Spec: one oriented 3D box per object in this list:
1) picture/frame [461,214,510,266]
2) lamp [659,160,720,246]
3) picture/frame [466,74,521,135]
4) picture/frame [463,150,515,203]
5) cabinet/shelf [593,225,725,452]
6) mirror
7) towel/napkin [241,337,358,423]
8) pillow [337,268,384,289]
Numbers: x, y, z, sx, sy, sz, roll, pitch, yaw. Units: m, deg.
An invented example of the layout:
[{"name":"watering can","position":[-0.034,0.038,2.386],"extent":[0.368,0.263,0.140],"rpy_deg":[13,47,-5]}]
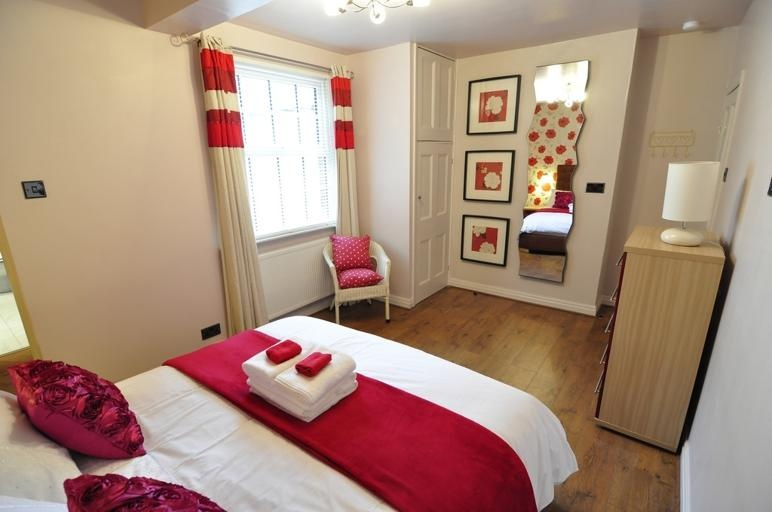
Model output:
[{"name":"picture/frame","position":[1.192,-0.196,5.476],"extent":[0.560,0.611,0.025],"rpy_deg":[7,15,33]},{"name":"lamp","position":[2.077,-0.351,3.178],"extent":[0.294,0.558,0.268],"rpy_deg":[2,20,15]},{"name":"picture/frame","position":[1.204,-1.677,5.097],"extent":[0.629,0.612,0.042],"rpy_deg":[11,20,33]},{"name":"picture/frame","position":[1.195,-0.922,5.291],"extent":[0.549,0.567,0.041],"rpy_deg":[11,19,33]},{"name":"cabinet/shelf","position":[1.948,0.638,3.258],"extent":[0.508,1.357,1.356],"rpy_deg":[17,24,32]},{"name":"mirror","position":[1.758,-0.819,4.919],"extent":[0.583,2.276,0.312],"rpy_deg":[5,21,22]},{"name":"towel/napkin","position":[-0.537,0.756,2.856],"extent":[0.547,0.206,0.427],"rpy_deg":[12,21,29]},{"name":"pillow","position":[-0.282,0.233,4.832],"extent":[0.477,0.140,0.254],"rpy_deg":[-9,19,-16]}]
